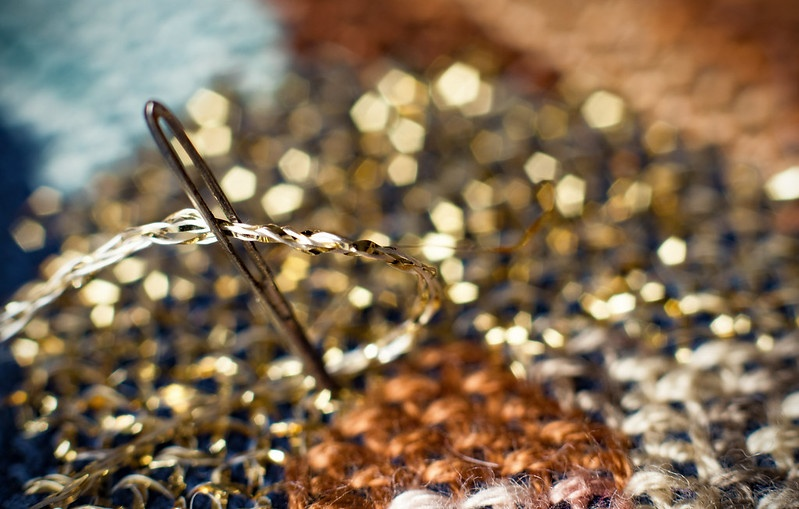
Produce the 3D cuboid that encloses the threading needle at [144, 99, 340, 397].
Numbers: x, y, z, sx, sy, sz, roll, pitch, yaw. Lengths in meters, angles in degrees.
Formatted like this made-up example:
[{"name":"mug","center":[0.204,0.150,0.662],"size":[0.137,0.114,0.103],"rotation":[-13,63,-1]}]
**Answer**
[{"name":"threading needle","center":[-0.166,0.001,1.130],"size":[0.221,0.326,0.058],"rotation":[-3,13,-30]}]
